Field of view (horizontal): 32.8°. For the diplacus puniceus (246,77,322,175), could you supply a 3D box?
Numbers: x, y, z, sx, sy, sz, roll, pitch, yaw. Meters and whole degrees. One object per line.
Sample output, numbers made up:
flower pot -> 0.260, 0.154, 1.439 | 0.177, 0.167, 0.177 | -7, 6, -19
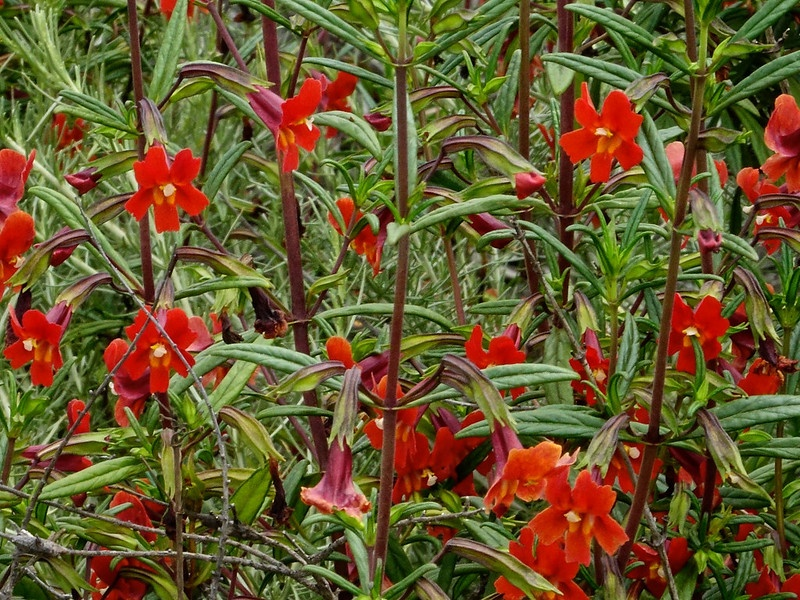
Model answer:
diplacus puniceus -> -0.203, -0.349, 2.649 | 0.128, 0.134, 0.128 | -29, 50, -15
